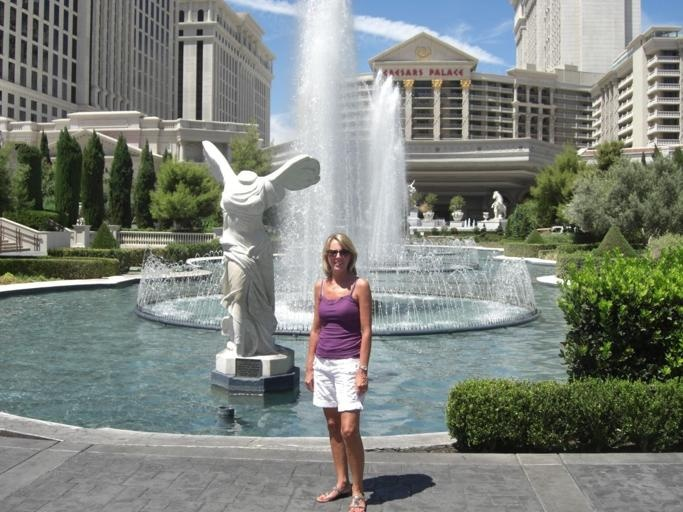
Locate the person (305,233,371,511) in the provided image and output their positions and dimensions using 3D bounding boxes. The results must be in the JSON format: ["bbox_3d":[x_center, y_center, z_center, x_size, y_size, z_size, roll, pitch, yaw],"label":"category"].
[{"bbox_3d":[-0.031,1.169,7.221,0.797,2.808,0.563,1,2,23],"label":"person"}]
